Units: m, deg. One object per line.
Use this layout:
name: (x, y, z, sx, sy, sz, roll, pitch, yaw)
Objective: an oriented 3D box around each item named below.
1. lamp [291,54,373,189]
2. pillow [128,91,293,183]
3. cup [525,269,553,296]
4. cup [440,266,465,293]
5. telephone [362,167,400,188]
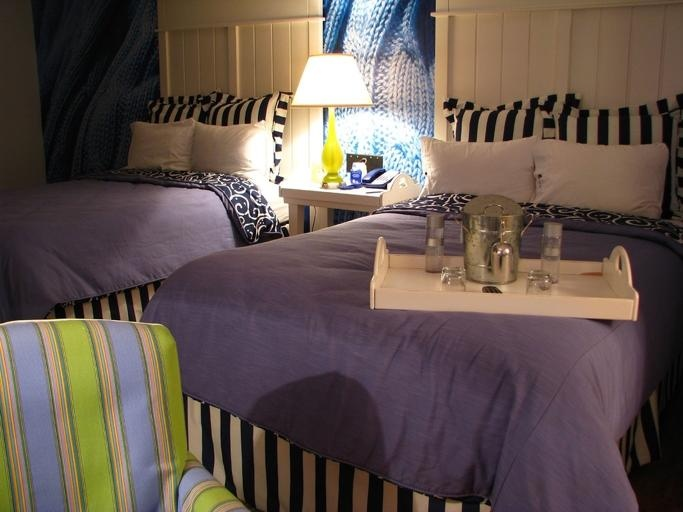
lamp: (-0.068, -0.938, 3.851, 0.538, 0.921, 0.395, 2, 8, 0)
pillow: (-0.942, -0.876, 4.196, 0.718, 0.604, 0.118, 4, -13, 29)
cup: (0.620, 0.083, 1.744, 0.058, 0.081, 0.068, 1, 4, 5)
cup: (0.362, 0.073, 1.800, 0.061, 0.078, 0.070, 1, 5, 3)
telephone: (0.296, -0.515, 3.696, 0.127, 0.066, 0.181, 9, 37, 46)
